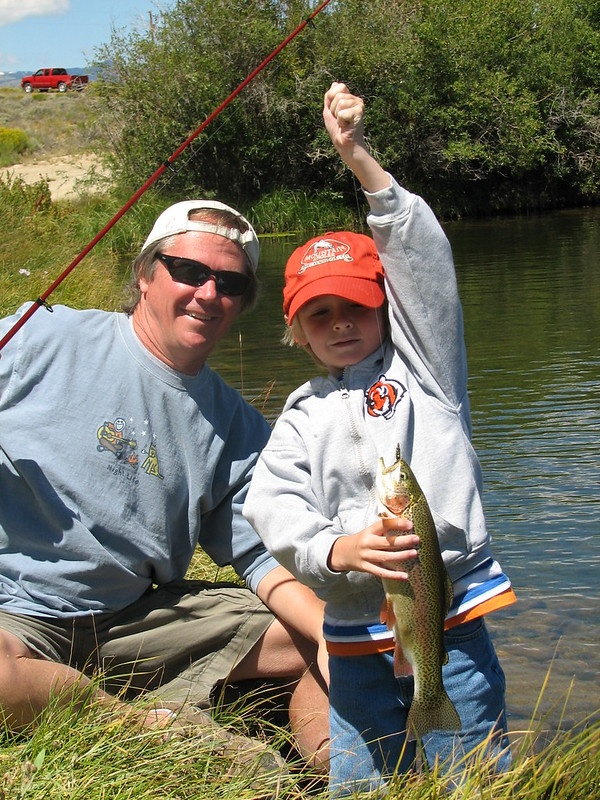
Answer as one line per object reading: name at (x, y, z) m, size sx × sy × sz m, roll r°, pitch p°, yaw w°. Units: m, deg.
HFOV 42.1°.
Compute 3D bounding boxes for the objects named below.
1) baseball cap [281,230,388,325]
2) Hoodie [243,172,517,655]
baseball cap at (0.094, -0.363, 2.132) m, size 0.319 × 0.205 × 0.409 m, roll -7°, pitch 12°, yaw 14°
Hoodie at (0.117, 0.074, 1.886) m, size 0.661 × 1.117 × 0.576 m, roll -12°, pitch 19°, yaw 12°
